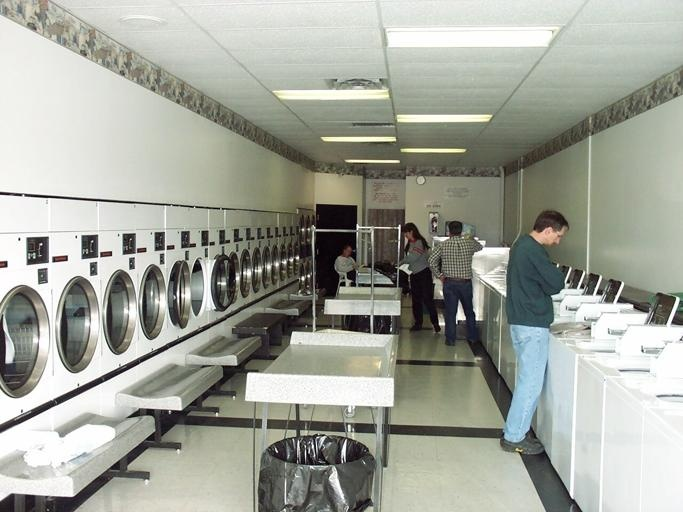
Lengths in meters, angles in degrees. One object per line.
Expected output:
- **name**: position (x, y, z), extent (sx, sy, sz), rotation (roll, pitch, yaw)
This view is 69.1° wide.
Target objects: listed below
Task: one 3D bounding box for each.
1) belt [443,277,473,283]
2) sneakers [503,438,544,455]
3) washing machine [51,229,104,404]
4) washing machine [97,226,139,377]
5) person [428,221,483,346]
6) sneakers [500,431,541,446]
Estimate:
- **belt**: position (1.683, 0.344, 7.328), extent (0.416, 0.099, 0.164), rotation (4, 7, 30)
- **sneakers**: position (1.540, 1.621, 4.203), extent (0.298, 0.164, 0.128), rotation (-2, -2, 12)
- **washing machine**: position (-2.075, 0.413, 3.780), extent (0.209, 1.204, 0.509), rotation (0, 5, 2)
- **washing machine**: position (-1.961, 0.373, 4.254), extent (0.196, 1.189, 0.496), rotation (0, 5, 3)
- **person**: position (1.760, 0.405, 7.555), extent (0.695, 1.871, 0.606), rotation (-5, 7, -42)
- **sneakers**: position (1.539, 1.588, 4.240), extent (0.256, 0.141, 0.133), rotation (0, 1, 6)
